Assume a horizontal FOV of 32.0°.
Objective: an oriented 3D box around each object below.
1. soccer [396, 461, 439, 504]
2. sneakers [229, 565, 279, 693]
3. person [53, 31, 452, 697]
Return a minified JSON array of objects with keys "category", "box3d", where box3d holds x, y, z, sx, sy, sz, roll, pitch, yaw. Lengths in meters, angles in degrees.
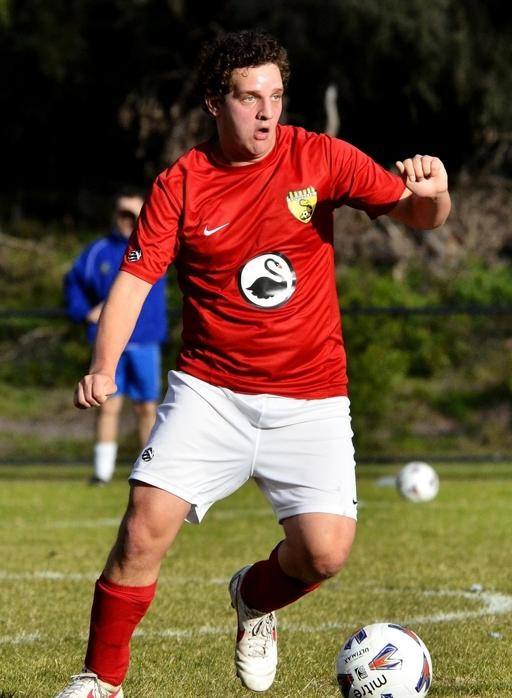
[{"category":"soccer","box3d":[0.537,0.454,2.974,0.146,0.130,0.141,-9,57,-2]},{"category":"sneakers","box3d":[-0.014,0.865,2.761,0.124,0.333,0.155,-3,-18,-15]},{"category":"person","box3d":[-0.021,0.195,2.559,0.845,1.665,0.893,10,15,11]}]
